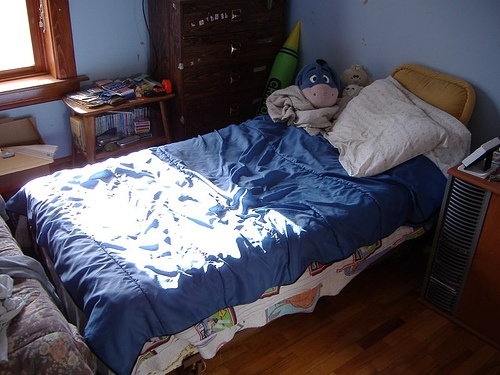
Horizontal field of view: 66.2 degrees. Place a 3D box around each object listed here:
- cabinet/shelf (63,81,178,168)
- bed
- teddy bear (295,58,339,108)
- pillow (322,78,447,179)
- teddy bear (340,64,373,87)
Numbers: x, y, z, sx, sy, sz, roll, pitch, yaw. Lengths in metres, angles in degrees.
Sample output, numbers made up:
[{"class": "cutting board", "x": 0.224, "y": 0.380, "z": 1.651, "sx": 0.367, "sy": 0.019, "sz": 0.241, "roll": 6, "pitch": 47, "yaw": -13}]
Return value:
[{"class": "cabinet/shelf", "x": -1.112, "y": -0.534, "z": 3.180, "sx": 0.601, "sy": 0.451, "sz": 0.326, "roll": -25, "pitch": 48, "yaw": -31}, {"class": "bed", "x": -0.193, "y": 0.186, "z": 2.397, "sx": 1.991, "sy": 0.641, "sz": 1.675, "roll": -22, "pitch": 36, "yaw": -33}, {"class": "teddy bear", "x": 0.523, "y": -0.861, "z": 3.043, "sx": 0.367, "sy": 0.324, "sz": 0.505, "roll": -9, "pitch": 32, "yaw": -6}, {"class": "pillow", "x": 0.865, "y": -0.355, "z": 2.519, "sx": 0.638, "sy": 0.187, "sz": 0.660, "roll": -31, "pitch": 53, "yaw": 1}, {"class": "teddy bear", "x": 0.831, "y": -0.871, "z": 3.032, "sx": 0.255, "sy": 0.183, "sz": 0.180, "roll": 10, "pitch": 20, "yaw": 3}]
